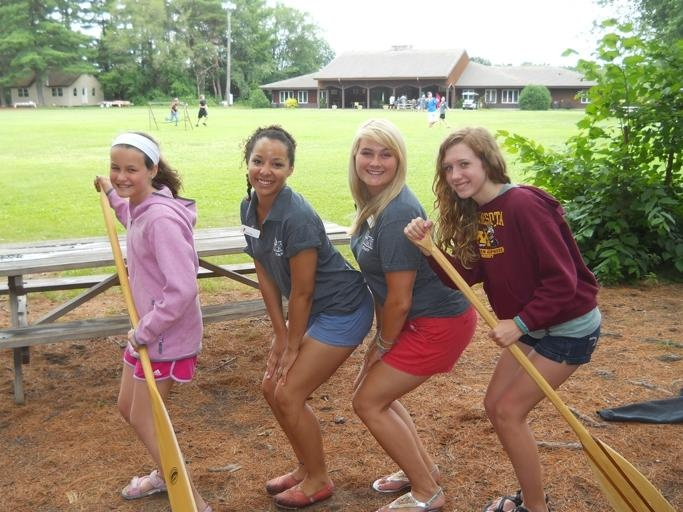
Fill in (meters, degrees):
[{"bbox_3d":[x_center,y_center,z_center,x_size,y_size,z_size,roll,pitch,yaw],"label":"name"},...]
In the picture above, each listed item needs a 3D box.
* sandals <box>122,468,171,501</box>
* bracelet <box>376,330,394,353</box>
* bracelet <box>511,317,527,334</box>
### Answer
[{"bbox_3d":[-1.192,1.389,3.637,0.323,0.129,0.147,-1,2,-20],"label":"sandals"},{"bbox_3d":[0.240,0.502,3.370,0.078,0.117,0.122,3,8,-16],"label":"bracelet"},{"bbox_3d":[0.933,0.360,3.068,0.034,0.086,0.064,-35,3,0],"label":"bracelet"}]
